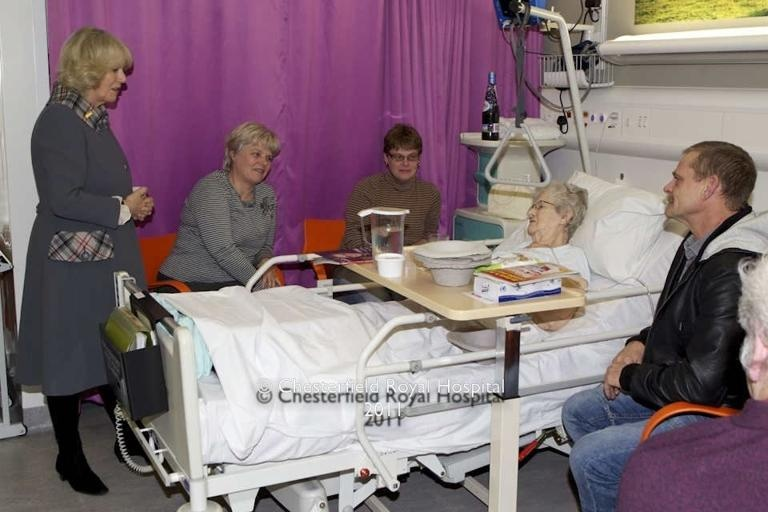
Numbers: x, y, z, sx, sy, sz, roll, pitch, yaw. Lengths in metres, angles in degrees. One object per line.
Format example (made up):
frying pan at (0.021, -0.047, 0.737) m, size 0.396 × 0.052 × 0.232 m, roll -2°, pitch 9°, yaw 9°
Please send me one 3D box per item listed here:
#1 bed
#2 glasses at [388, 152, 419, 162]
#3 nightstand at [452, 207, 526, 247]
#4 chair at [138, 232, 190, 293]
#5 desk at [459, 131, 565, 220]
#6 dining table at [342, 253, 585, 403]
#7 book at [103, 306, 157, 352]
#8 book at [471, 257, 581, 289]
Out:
bed at (0.057, 0.435, 2.177) m, size 1.712 × 0.724 × 1.120 m, roll -12°, pitch 30°, yaw -18°
glasses at (0.127, -0.625, 3.521) m, size 0.184 × 0.056 × 0.075 m, roll -2°, pitch 12°, yaw -10°
nightstand at (0.650, -0.201, 3.704) m, size 0.237 × 0.300 × 0.419 m, roll -5°, pitch 12°, yaw -19°
chair at (-1.221, 0.032, 3.101) m, size 0.245 × 0.331 × 0.238 m, roll 8°, pitch 13°, yaw 35°
desk at (0.824, -0.429, 3.681) m, size 0.651 × 0.646 × 0.623 m, roll -3°, pitch 18°, yaw -15°
dining table at (0.292, 0.269, 2.172) m, size 0.856 × 0.406 × 0.514 m, roll 10°, pitch 16°, yaw 39°
book at (-0.900, 0.276, 2.045) m, size 0.192 × 0.077 × 0.139 m, roll -22°, pitch 44°, yaw -35°
book at (0.506, 0.055, 2.036) m, size 0.373 × 0.043 × 0.197 m, roll -4°, pitch 13°, yaw -20°
